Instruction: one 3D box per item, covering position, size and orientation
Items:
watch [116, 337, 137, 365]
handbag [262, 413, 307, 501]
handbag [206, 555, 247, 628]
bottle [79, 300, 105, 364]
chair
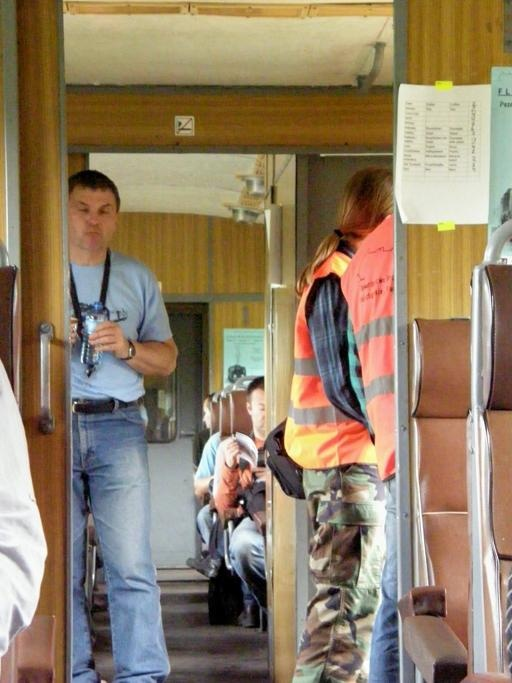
[{"bbox_3d":[-0.429,0.035,3.911,0.033,0.057,0.065,30,-2,-10],"label":"watch"},{"bbox_3d":[0.095,0.396,3.974,0.161,0.241,0.074,-32,16,-28],"label":"handbag"},{"bbox_3d":[-0.151,1.185,5.641,0.088,0.326,0.114,4,-33,0],"label":"handbag"},{"bbox_3d":[-0.536,-0.025,3.892,0.081,0.204,0.130,-1,-3,-21],"label":"bottle"},{"bbox_3d":[0.315,0.308,2.775,0.465,0.914,0.790,-1,-5,4],"label":"chair"}]
